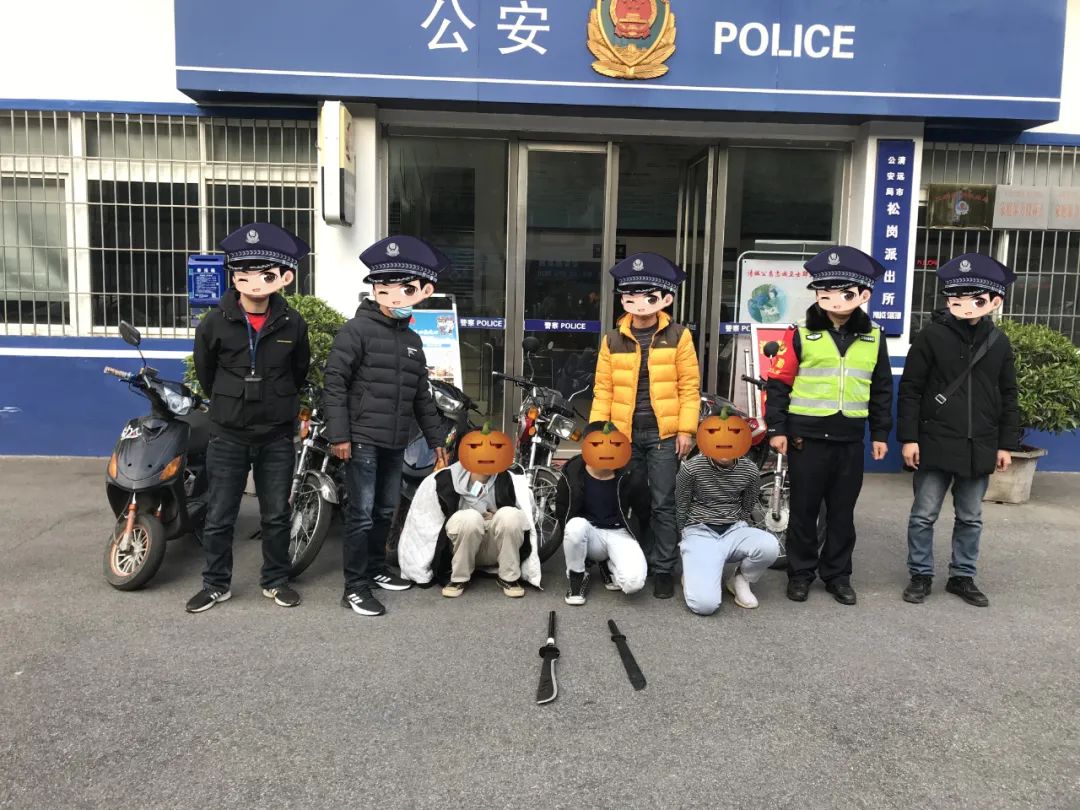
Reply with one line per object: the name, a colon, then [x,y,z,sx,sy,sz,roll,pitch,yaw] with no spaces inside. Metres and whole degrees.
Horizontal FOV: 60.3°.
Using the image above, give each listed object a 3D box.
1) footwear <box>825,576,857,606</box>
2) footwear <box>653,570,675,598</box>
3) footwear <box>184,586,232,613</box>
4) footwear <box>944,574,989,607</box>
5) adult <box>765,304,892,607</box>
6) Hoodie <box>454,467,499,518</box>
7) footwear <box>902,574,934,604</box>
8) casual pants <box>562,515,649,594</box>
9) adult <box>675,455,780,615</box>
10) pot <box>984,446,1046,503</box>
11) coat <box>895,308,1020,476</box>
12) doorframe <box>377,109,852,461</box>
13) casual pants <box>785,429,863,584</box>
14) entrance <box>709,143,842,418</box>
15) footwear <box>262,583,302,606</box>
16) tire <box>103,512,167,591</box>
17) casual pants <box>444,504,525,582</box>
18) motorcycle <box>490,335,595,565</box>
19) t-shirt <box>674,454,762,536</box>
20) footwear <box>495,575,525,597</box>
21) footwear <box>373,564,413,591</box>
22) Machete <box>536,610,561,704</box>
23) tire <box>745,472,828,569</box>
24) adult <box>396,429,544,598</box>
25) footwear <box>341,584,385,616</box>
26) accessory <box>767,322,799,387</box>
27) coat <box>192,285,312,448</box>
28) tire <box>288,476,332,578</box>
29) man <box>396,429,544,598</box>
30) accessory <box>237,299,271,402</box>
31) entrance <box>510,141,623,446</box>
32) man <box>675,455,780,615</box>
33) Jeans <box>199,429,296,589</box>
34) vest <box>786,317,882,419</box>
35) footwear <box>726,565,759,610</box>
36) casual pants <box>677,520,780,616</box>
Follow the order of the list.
footwear: [1.998,1.232,6.183,0.095,0.131,0.294,-2,1,-6]
footwear: [0.836,1.198,6.206,0.139,0.134,0.200,0,12,5]
footwear: [-2.086,1.221,5.873,0.106,0.117,0.273,-1,3,35]
footwear: [2.833,1.237,6.162,0.099,0.140,0.305,4,1,-18]
adult: [1.945,0.252,6.242,0.732,2.090,0.497,2,8,13]
Hoodie: [-0.406,0.579,6.271,0.295,0.374,0.206,-5,9,-16]
footwear: [2.504,1.222,6.147,0.101,0.142,0.291,2,-4,37]
casual pants: [0.461,0.974,6.308,0.577,0.376,0.837,12,8,5]
adult: [1.244,0.707,6.083,0.642,1.158,0.862,-1,19,2]
pot: [3.880,0.582,7.613,0.511,0.491,0.460,0,5,-4]
coat: [2.781,-0.071,6.166,0.736,1.035,0.444,4,12,25]
doorframe: [0.552,-1.088,7.902,2.874,2.267,0.258,2,6,-4]
casual pants: [1.939,0.659,6.321,0.478,1.225,0.336,3,28,16]
entrance: [2.338,-1.075,9.186,0.905,2.303,0.088,-2,39,13]
footwear: [-1.647,1.213,5.953,0.234,0.117,0.116,18,11,26]
tire: [-2.647,0.950,6.045,0.501,0.490,0.253,5,13,28]
casual pants: [-0.331,0.964,6.195,0.505,0.499,0.379,3,-8,7]
motorcycle: [0.035,0.244,7.232,0.738,1.452,2.030,12,11,-11]
t-shirt: [1.213,0.594,6.264,0.514,0.595,0.294,-1,23,-15]
footwear: [-0.187,1.208,6.167,0.080,0.084,0.204,1,1,-25]
footwear: [-0.981,1.150,6.216,0.277,0.130,0.122,4,4,14]
Machete: [0.054,1.468,5.333,0.114,0.096,0.793,4,13,4]
tire: [1.697,0.816,6.823,0.163,0.650,0.663,0,41,-24]
adult: [-0.462,0.636,6.493,1.159,1.287,0.959,1,1,-18]
footwear: [-1.106,1.234,5.899,0.282,0.138,0.138,12,9,35]
accessory: [1.657,-0.326,6.274,0.210,0.376,0.184,4,8,33]
coat: [-1.804,-0.257,5.880,0.691,0.941,0.478,-1,6,-27]
tire: [-1.548,0.803,6.249,0.188,0.601,0.603,11,-38,-26]
man: [-0.455,0.742,6.487,1.159,1.287,0.959,1,1,-18]
accessory: [-1.756,-0.285,5.705,0.131,0.491,0.071,-3,-21,-9]
entrance: [0.239,-1.085,9.259,0.945,3.070,0.118,1,22,-1]
man: [1.248,0.694,6.064,0.640,1.195,0.885,0,18,3]
Jeans: [-1.850,0.574,5.903,0.568,1.374,0.377,-4,24,-26]
vest: [1.994,-0.244,6.242,0.529,0.743,0.399,6,-11,11]
footwear: [1.307,1.194,6.144,0.126,0.188,0.281,-5,15,-16]
casual pants: [1.239,1.010,6.164,0.594,0.413,0.899,-4,28,6]
